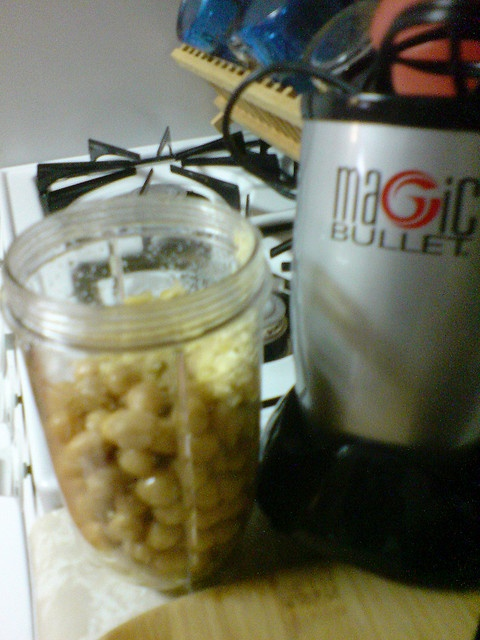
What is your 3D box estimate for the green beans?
[{"bbox_3d":[-0.052,0.050,0.298,0.085,0.101,0.086,6,21,23],"label":"green beans"}]
